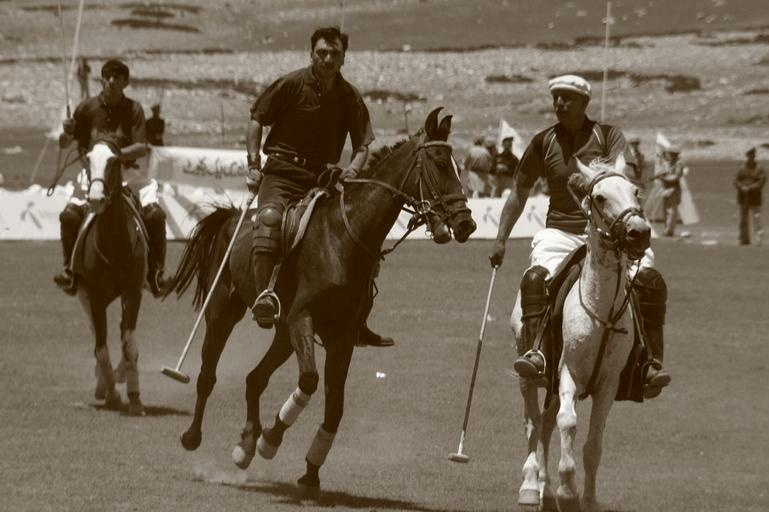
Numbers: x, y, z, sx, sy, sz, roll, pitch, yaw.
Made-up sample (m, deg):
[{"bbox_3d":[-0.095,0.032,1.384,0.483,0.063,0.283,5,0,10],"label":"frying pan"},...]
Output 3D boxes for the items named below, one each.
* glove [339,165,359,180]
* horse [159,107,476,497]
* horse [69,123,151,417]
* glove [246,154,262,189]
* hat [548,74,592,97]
[{"bbox_3d":[-0.567,-1.393,25.210,0.343,0.112,0.238,-26,9,6],"label":"glove"},{"bbox_3d":[-1.090,0.635,25.130,5.073,6.297,1.658,6,10,22],"label":"horse"},{"bbox_3d":[-5.028,0.293,28.049,1.363,4.888,1.669,1,9,-9],"label":"horse"},{"bbox_3d":[-2.151,-1.412,25.268,0.217,0.485,0.401,8,4,-21],"label":"glove"},{"bbox_3d":[3.002,-2.757,24.508,0.607,0.328,0.418,1,9,-4],"label":"hat"}]
